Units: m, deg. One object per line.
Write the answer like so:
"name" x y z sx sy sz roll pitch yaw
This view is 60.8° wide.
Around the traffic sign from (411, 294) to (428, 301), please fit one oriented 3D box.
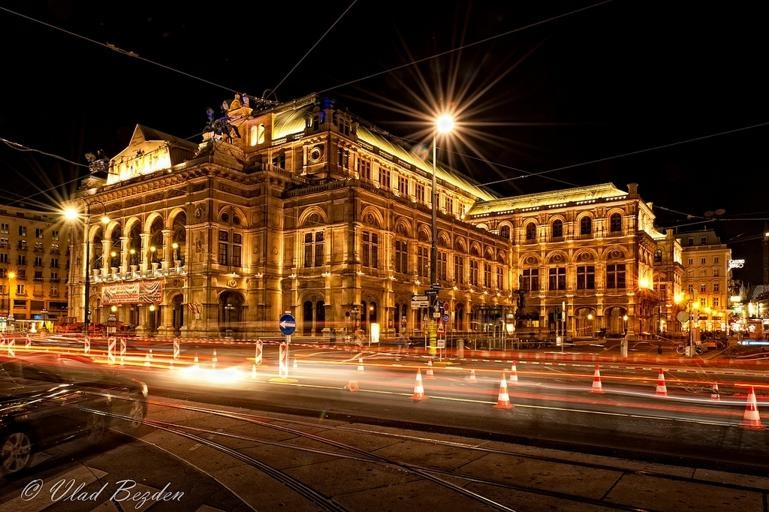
"traffic sign" 1.908 2.470 35.623 0.799 0.191 0.852 -1 -1 7
